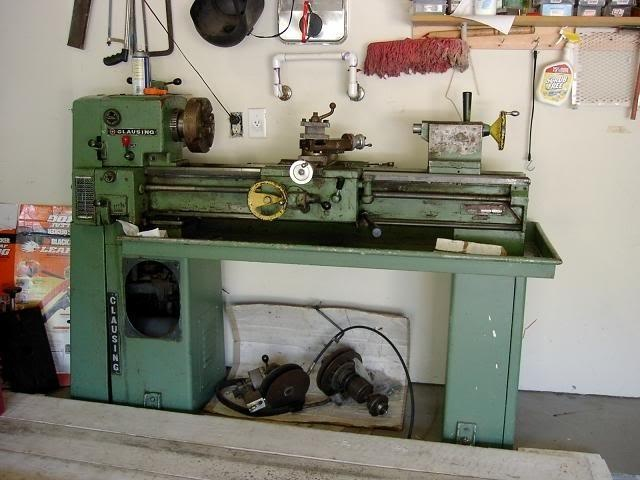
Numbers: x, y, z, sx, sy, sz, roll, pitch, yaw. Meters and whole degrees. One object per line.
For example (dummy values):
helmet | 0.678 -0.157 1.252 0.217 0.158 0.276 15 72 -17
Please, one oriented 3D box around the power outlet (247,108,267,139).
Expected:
power outlet | -0.359 -0.680 3.154 0.159 0.230 0.024 1 13 4
